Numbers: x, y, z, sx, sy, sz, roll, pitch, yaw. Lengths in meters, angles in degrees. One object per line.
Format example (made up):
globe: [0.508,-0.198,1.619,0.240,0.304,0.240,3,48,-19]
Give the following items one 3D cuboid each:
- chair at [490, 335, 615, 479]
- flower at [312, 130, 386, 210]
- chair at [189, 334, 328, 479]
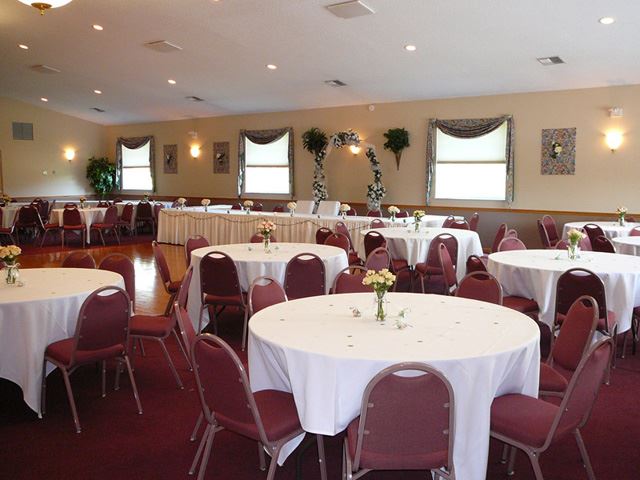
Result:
chair: [1.219,0.916,2.532,0.587,0.860,0.374,1,4,21]
flower: [0.716,-1.666,11.114,1.791,2.025,0.450,8,37,17]
chair: [-0.327,0.941,2.634,0.588,1.001,0.617,11,19,38]
